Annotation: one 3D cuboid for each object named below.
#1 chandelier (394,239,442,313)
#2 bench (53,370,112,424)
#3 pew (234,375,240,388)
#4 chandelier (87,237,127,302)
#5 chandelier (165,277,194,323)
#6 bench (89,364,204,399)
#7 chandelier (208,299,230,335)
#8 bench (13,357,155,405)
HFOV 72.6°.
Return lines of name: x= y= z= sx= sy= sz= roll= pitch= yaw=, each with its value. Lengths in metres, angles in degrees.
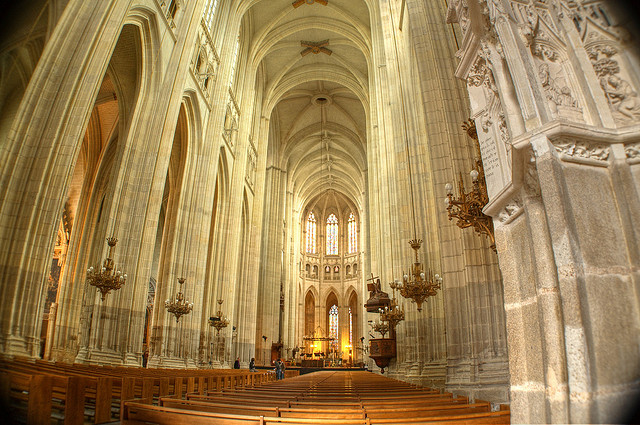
chandelier: x=2.648 y=1.629 z=11.894 sx=1.069 sy=1.842 sz=1.151 roll=-5 pitch=8 yaw=5
bench: x=-3.476 y=2.710 z=6.365 sx=1.338 sy=0.861 sz=0.447 roll=-6 pitch=-11 yaw=35
pew: x=-2.279 y=4.630 z=12.049 sx=0.100 sy=0.340 sz=0.707 roll=2 pitch=-27 yaw=-6
chandelier: x=-6.010 y=1.550 z=12.356 sx=0.974 sy=1.688 sz=0.992 roll=-9 pitch=-18 yaw=42
chandelier: x=-5.102 y=3.128 z=15.771 sx=0.823 sy=1.485 sz=0.902 roll=7 pitch=0 yaw=-7
bench: x=-3.412 y=3.295 z=8.514 sx=2.318 sy=0.520 sz=0.440 roll=2 pitch=-13 yaw=19
chandelier: x=-4.608 y=4.634 z=20.057 sx=0.749 sy=1.574 sz=3.082 roll=4 pitch=-27 yaw=-10
bench: x=-4.010 y=2.855 z=7.403 sx=2.280 sy=0.508 sz=0.426 roll=-2 pitch=-12 yaw=24
